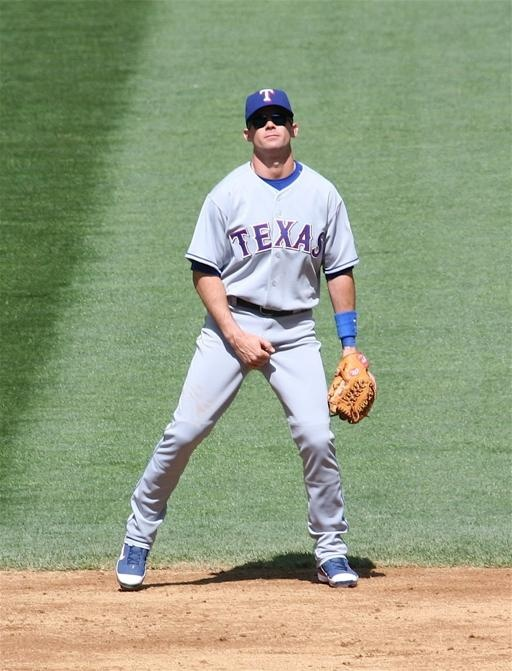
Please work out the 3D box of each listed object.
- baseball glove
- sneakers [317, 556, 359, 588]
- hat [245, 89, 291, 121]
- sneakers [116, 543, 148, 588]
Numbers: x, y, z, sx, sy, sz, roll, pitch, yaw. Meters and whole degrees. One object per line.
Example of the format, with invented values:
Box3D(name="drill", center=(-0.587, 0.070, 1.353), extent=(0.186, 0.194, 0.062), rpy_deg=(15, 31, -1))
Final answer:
Box3D(name="baseball glove", center=(0.405, 0.222, 5.390), extent=(0.205, 0.277, 0.107), rpy_deg=(20, -7, -37))
Box3D(name="sneakers", center=(0.336, 0.977, 5.292), extent=(0.086, 0.079, 0.188), rpy_deg=(1, -8, -13))
Box3D(name="hat", center=(0.046, -0.967, 5.379), extent=(0.118, 0.169, 0.167), rpy_deg=(-11, -3, -4))
Box3D(name="sneakers", center=(-0.505, 0.924, 5.350), extent=(0.105, 0.121, 0.299), rpy_deg=(8, 19, -5))
